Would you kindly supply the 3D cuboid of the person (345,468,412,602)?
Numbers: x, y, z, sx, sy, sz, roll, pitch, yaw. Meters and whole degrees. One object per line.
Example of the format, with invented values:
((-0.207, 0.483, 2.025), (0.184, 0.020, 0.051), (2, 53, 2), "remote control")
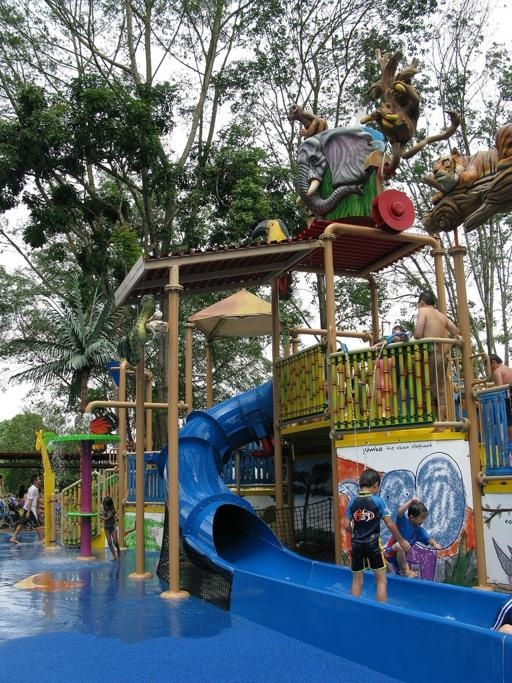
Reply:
((0.980, 1.662, 5.413), (0.474, 1.195, 0.338), (0, 5, 22), "person")

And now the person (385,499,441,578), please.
((1.487, 1.900, 6.321), (0.514, 0.758, 0.437), (-3, -22, 38), "person")
